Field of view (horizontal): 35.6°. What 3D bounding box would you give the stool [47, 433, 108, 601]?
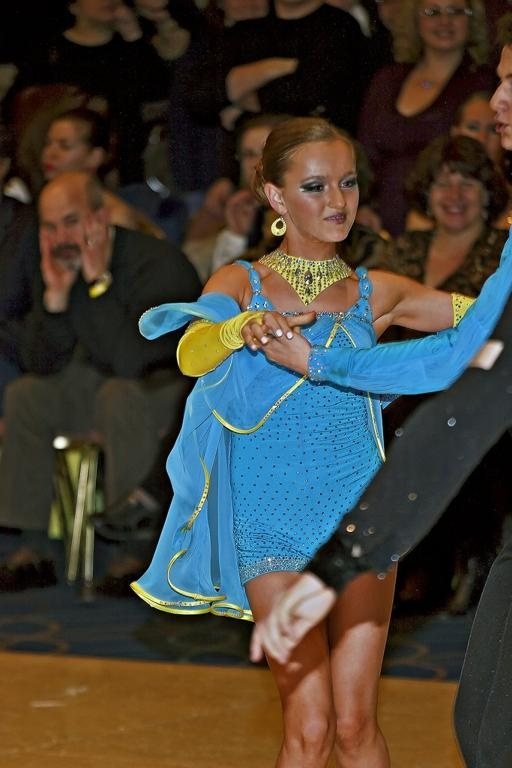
[{"bbox_3d":[-0.778,0.570,3.530,0.217,0.611,0.223,4,-21,-45],"label":"stool"}]
